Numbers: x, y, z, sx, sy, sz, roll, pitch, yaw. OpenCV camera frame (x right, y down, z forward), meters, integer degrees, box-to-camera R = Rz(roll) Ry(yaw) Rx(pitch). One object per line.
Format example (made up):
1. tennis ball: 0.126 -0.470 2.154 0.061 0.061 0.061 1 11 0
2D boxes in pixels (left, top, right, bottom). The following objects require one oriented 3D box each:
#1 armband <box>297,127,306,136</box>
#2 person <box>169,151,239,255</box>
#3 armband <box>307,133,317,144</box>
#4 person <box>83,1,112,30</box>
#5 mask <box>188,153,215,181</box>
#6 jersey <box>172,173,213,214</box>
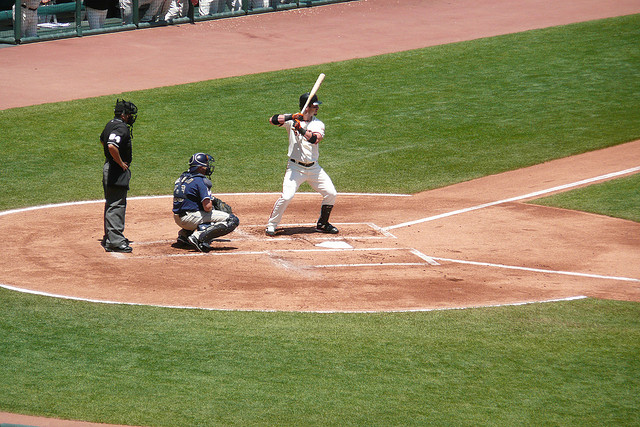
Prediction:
1. armband: -0.334 -1.586 19.417 0.177 0.103 0.063 32 56 9
2. person: -2.183 -0.199 18.992 1.119 1.835 0.783 -1 16 -4
3. armband: -0.124 -1.464 19.500 0.153 0.155 0.193 30 -26 -25
4. person: -6.743 -5.995 30.495 0.732 0.699 0.733 14 37 13
5. mask: -2.279 -0.915 19.187 0.527 0.368 0.490 5 5 23
6. jersey: -2.376 -0.357 18.980 0.763 0.902 0.943 -9 14 -39
